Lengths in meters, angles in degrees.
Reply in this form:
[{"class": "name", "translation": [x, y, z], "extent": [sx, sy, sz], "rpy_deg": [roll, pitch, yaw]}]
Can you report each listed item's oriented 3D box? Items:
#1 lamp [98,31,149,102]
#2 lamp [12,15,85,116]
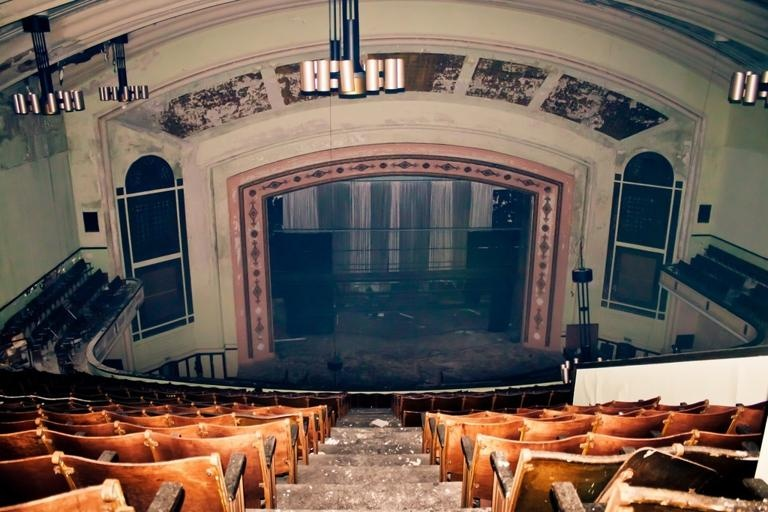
[{"class": "lamp", "translation": [-5.132, -3.686, 11.891], "extent": [0.772, 1.423, 1.342], "rpy_deg": [1, 1, -18]}, {"class": "lamp", "translation": [-5.809, -3.216, 10.068], "extent": [0.747, 1.557, 1.329], "rpy_deg": [1, 1, 6]}]
